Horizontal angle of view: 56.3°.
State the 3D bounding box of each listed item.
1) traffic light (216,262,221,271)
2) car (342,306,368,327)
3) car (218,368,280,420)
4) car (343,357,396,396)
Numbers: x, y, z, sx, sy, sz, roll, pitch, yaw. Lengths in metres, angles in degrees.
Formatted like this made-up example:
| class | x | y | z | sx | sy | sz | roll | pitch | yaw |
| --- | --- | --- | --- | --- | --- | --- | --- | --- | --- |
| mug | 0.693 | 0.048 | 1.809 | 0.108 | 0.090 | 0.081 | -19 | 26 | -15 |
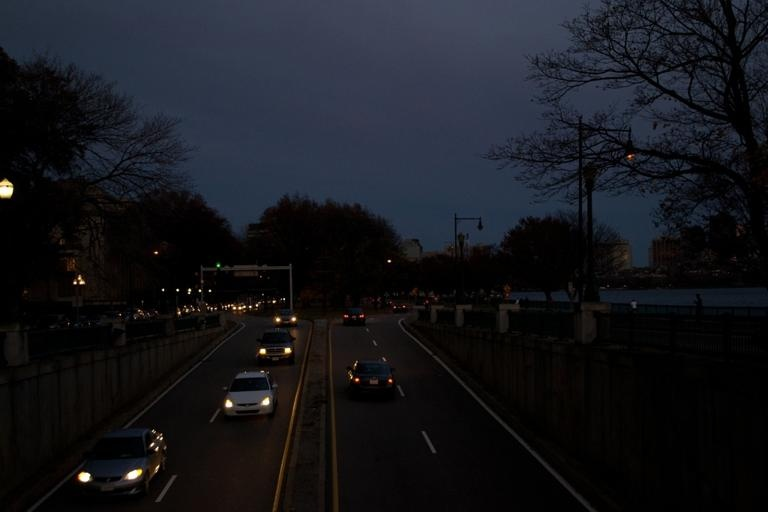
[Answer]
| class | x | y | z | sx | sy | sz | roll | pitch | yaw |
| --- | --- | --- | --- | --- | --- | --- | --- | --- | --- |
| traffic light | -15.960 | 1.066 | 69.352 | 0.567 | 1.199 | 0.618 | -3 | 5 | -12 |
| car | -2.708 | 5.688 | 67.383 | 1.854 | 1.503 | 3.471 | 1 | 4 | 2 |
| car | -6.051 | 6.344 | 32.495 | 2.199 | 1.851 | 1.851 | 0 | 5 | -1 |
| car | -0.601 | 6.188 | 35.677 | 2.172 | 1.507 | 1.879 | 1 | 4 | 4 |
